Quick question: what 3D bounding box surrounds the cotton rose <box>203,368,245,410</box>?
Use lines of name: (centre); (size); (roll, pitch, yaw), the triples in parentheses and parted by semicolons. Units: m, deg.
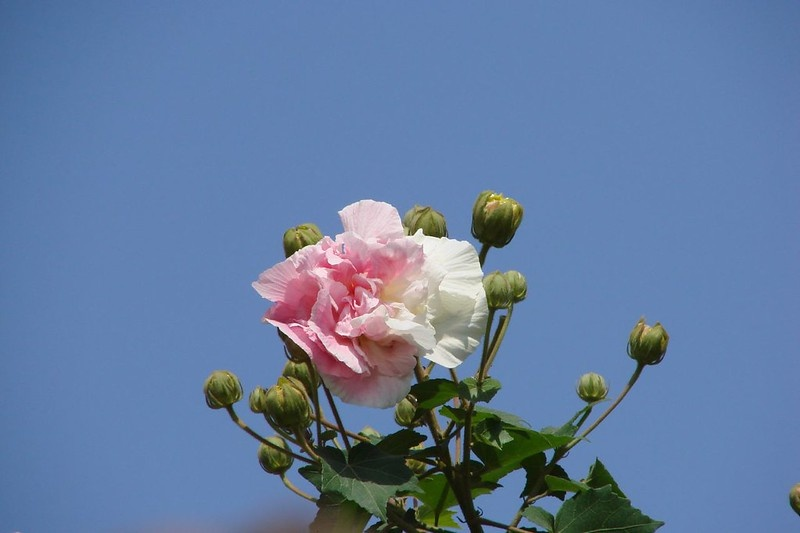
cotton rose: (-0.392, 0.277, 3.080); (0.091, 0.101, 0.066); (4, 9, 2)

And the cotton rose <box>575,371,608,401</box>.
cotton rose: (0.446, 0.284, 3.214); (0.070, 0.088, 0.166); (-5, -14, 7)

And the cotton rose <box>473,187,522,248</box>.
cotton rose: (0.219, -0.095, 3.108); (0.109, 0.133, 0.120); (5, -4, 27)

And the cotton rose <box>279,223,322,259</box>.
cotton rose: (-0.218, -0.058, 3.017); (0.069, 0.068, 0.085); (-27, -21, -9)

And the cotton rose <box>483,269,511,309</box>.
cotton rose: (0.215, 0.057, 3.057); (0.049, 0.070, 0.063); (1, 4, 44)

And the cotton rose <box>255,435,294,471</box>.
cotton rose: (-0.307, 0.455, 3.280); (0.060, 0.083, 0.079); (-11, 31, 13)

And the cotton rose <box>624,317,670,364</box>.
cotton rose: (0.570, 0.194, 3.198); (0.087, 0.123, 0.102); (16, 6, -5)

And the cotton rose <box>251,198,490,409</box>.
cotton rose: (-0.050, 0.056, 2.949); (0.452, 0.226, 0.475); (-9, 32, 38)
